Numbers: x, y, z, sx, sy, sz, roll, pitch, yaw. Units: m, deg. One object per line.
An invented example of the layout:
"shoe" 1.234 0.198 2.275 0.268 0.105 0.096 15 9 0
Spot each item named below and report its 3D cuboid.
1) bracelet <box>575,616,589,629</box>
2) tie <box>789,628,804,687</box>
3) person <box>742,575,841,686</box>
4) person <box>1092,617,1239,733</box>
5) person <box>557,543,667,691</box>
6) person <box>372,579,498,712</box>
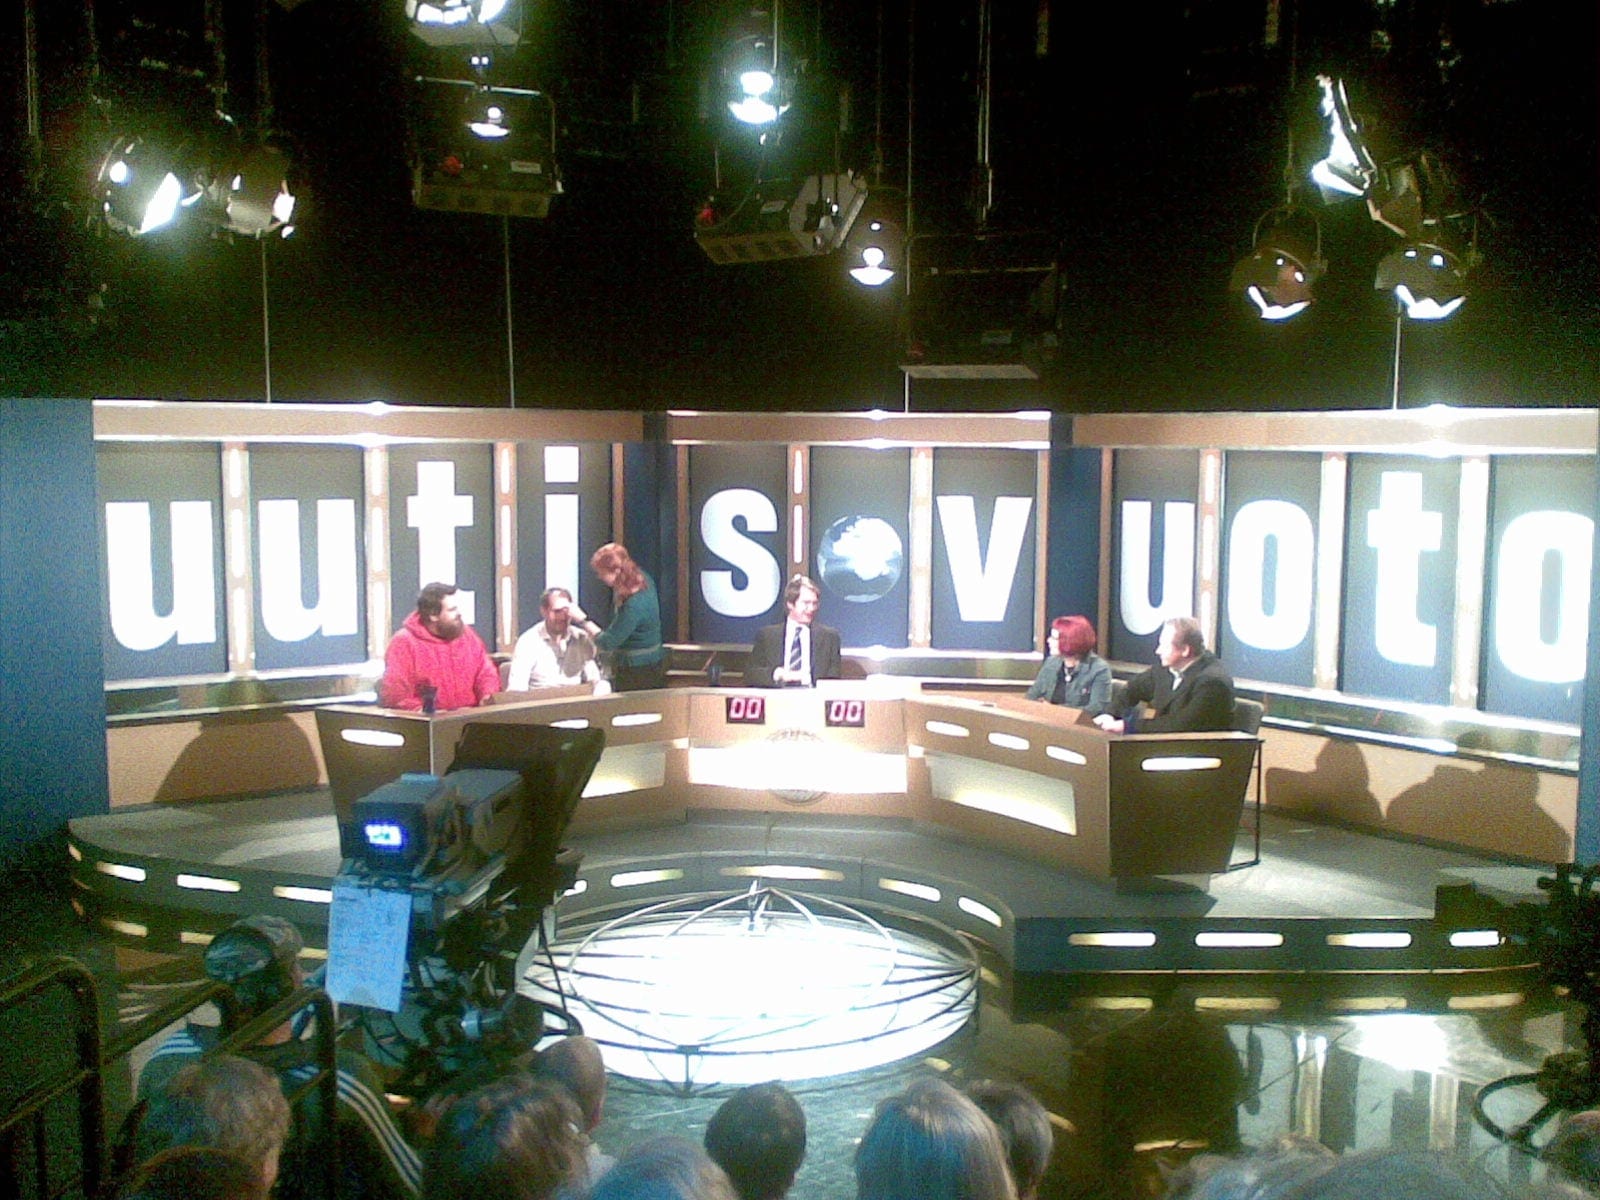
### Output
"bracelet" -1.419 0.150 9.795 0.071 0.027 0.057 -9 -21 24
"tie" -0.019 0.367 9.941 0.067 0.336 0.102 -4 -5 14
"person" -0.029 0.214 9.810 0.621 0.702 0.959 1 3 1
"person" 2.203 0.509 9.113 0.677 1.282 0.761 0 1 -3
"person" -1.296 0.140 10.116 0.565 1.458 0.500 7 17 17
"person" -2.144 0.433 9.104 0.691 1.074 0.527 -7 17 -28
